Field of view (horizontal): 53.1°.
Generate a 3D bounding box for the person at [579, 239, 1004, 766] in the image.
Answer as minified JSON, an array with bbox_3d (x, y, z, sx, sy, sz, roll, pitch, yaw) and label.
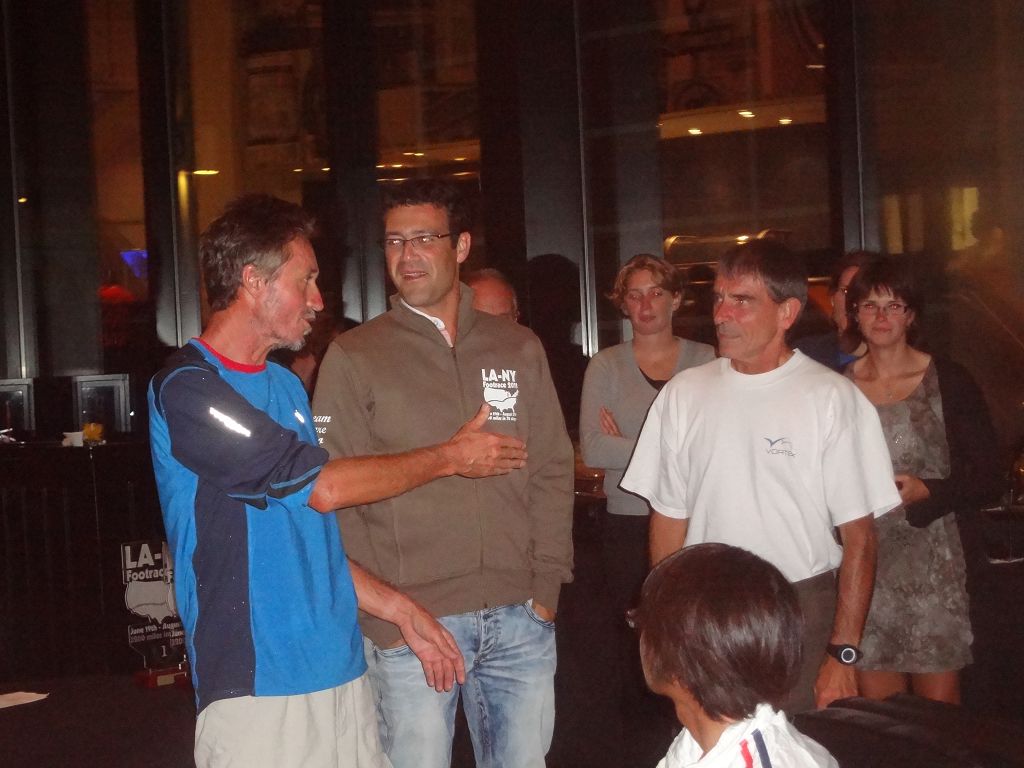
[{"bbox_3d":[1.178,0.372,3.979,1.313,1.720,0.703,-4,0,-27],"label":"person"}]
